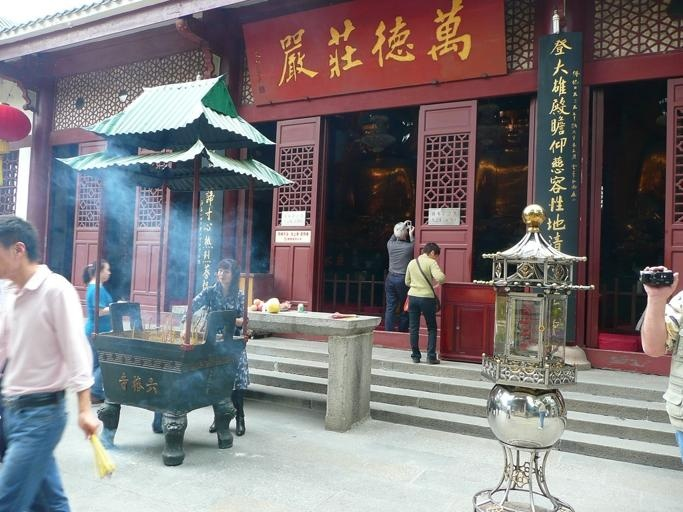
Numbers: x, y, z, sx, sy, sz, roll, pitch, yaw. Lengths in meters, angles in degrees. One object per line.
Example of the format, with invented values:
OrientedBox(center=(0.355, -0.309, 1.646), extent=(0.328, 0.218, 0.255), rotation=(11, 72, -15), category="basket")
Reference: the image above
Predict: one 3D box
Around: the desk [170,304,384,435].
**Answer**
OrientedBox(center=(-0.404, 1.306, 7.180), extent=(1.773, 1.152, 0.718), rotation=(1, -2, 40), category="desk")

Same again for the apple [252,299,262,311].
OrientedBox(center=(-0.994, 0.582, 7.085), extent=(0.087, 0.062, 0.147), rotation=(8, 23, -1), category="apple")

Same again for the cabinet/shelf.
OrientedBox(center=(1.708, 0.922, 8.324), extent=(0.900, 1.052, 0.586), rotation=(4, -3, -4), category="cabinet/shelf")

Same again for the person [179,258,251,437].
OrientedBox(center=(-1.259, 0.988, 6.272), extent=(0.549, 1.886, 0.669), rotation=(-3, 11, -18), category="person")

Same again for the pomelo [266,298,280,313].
OrientedBox(center=(-0.776, 0.561, 6.888), extent=(0.136, 0.158, 0.149), rotation=(3, 12, 6), category="pomelo")
